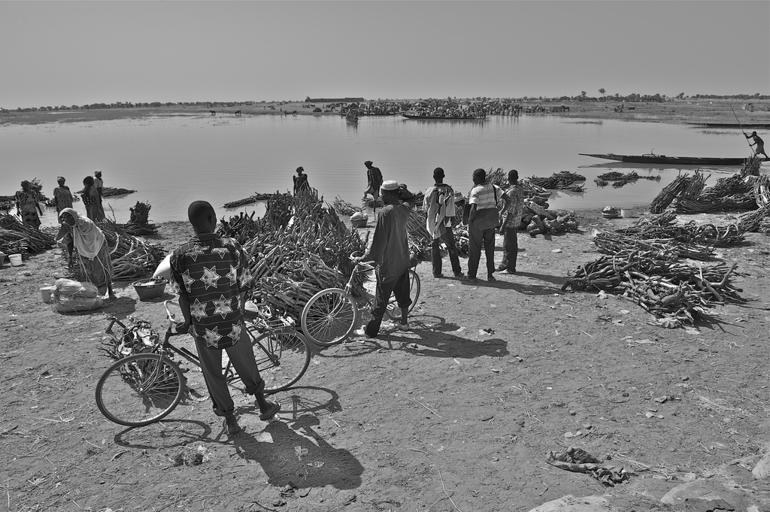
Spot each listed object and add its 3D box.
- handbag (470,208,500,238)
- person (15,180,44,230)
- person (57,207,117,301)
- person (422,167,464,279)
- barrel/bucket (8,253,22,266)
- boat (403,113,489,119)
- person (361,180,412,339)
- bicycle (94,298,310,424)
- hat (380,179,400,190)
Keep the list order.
[{"bbox_3d":[2.001,-0.708,12.295,0.865,0.539,0.461,-7,5,-25],"label":"handbag"},{"bbox_3d":[-9.431,-1.356,16.213,0.546,1.317,1.241,-11,18,-28],"label":"person"},{"bbox_3d":[-5.800,-0.054,11.898,0.800,1.844,0.599,-10,19,-25],"label":"person"},{"bbox_3d":[1.212,-0.708,12.635,0.761,2.335,1.471,0,16,6],"label":"person"},{"bbox_3d":[-8.677,0.080,14.391,0.279,0.203,0.291,1,8,0],"label":"barrel/bucket"},{"bbox_3d":[8.967,-20.708,90.489,11.532,1.176,1.832,3,19,8],"label":"boat"},{"bbox_3d":[0.038,0.079,10.063,0.837,2.608,0.402,-7,18,-16],"label":"person"},{"bbox_3d":[-2.574,1.506,8.738,2.998,1.485,1.412,-15,-20,-23],"label":"bicycle"},{"bbox_3d":[0.123,-1.133,9.895,0.403,0.105,0.374,5,15,13],"label":"hat"}]
